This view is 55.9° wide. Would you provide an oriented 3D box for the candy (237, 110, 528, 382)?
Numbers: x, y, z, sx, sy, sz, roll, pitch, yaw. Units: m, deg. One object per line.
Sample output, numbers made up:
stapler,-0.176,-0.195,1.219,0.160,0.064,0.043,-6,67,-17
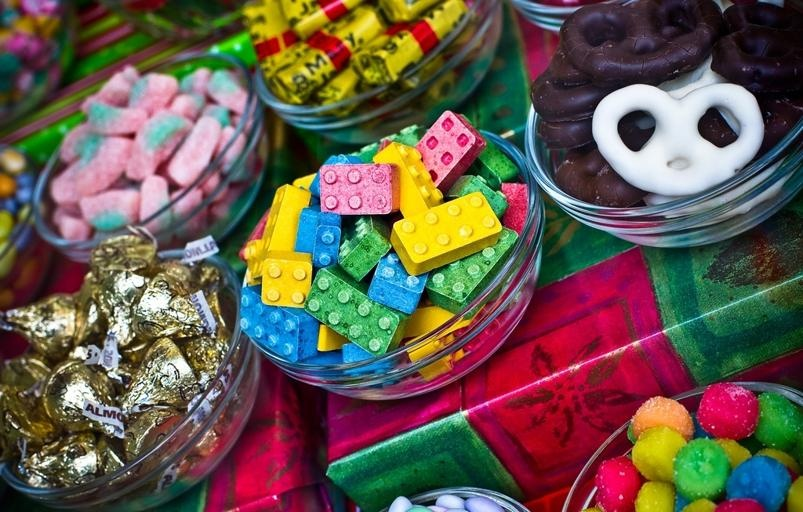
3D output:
candy,-0.064,0.032,1.659,0.561,0.302,0.559,28,83,41
